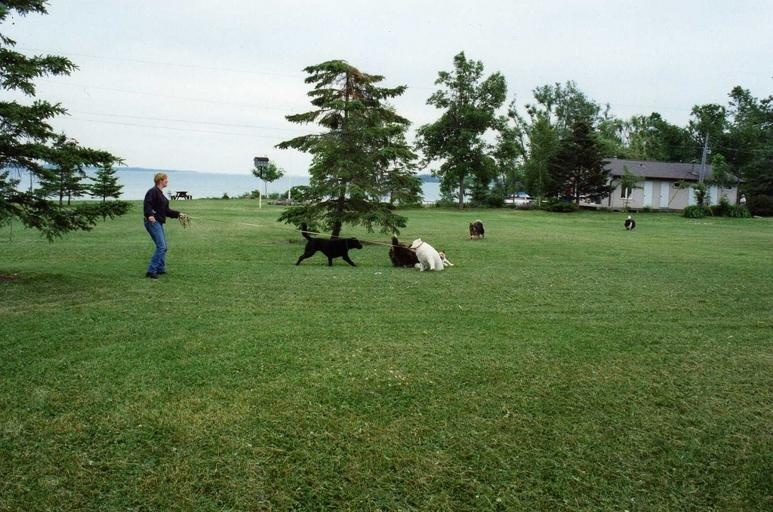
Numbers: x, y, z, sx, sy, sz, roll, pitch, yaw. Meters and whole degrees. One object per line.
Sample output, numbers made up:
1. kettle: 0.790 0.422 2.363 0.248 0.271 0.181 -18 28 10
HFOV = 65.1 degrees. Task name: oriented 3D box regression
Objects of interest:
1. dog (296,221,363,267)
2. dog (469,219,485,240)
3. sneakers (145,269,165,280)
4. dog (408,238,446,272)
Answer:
1. dog: -1.625 -0.149 16.434 1.630 0.730 1.491 -2 7 -21
2. dog: 3.738 -1.099 24.693 0.565 0.711 0.682 3 7 15
3. sneakers: -5.110 0.417 13.355 0.436 0.182 0.144 -4 -1 27
4. dog: 1.019 -0.002 15.893 0.991 0.676 0.600 13 -7 -7
